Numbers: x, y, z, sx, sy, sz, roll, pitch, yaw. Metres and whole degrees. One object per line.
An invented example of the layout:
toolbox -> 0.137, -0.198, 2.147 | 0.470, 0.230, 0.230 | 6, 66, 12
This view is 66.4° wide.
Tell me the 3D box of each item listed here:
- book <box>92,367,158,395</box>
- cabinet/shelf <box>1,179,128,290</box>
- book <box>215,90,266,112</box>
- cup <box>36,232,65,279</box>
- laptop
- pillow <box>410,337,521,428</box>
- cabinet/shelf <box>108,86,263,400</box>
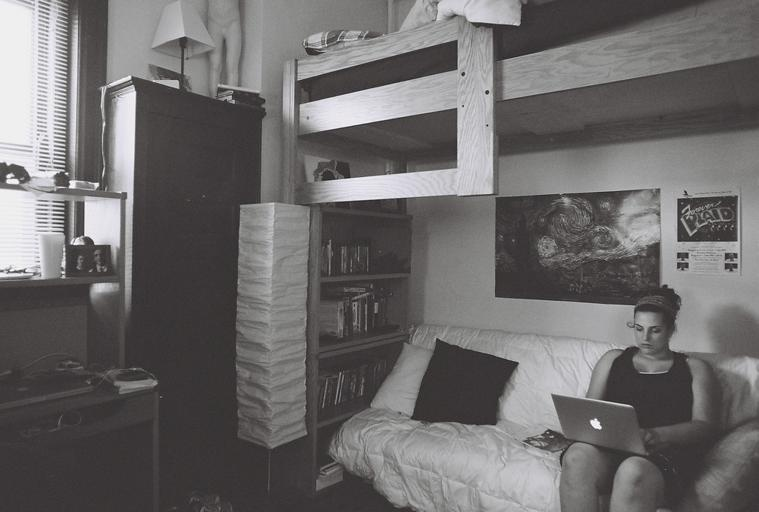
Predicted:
book -> -1.257, 0.621, 2.899 | 0.195, 0.055, 0.139 | 5, 9, -28
cabinet/shelf -> -1.640, -0.103, 3.020 | 0.624, 0.499, 0.332 | 0, -3, -43
book -> -0.827, -0.951, 3.520 | 0.155, 0.052, 0.154 | 3, 1, 42
cup -> -1.639, -0.006, 2.909 | 0.108, 0.220, 0.166 | -1, 5, -31
laptop -> 1.172, 0.859, 3.052 | 0.481, 0.325, 0.341 | -1, 14, 43
pillow -> 0.527, 0.831, 3.690 | 0.522, 0.471, 0.153 | 16, -21, 31
cabinet/shelf -> -1.114, -0.091, 3.411 | 0.815, 1.742, 0.258 | -3, 6, -41
